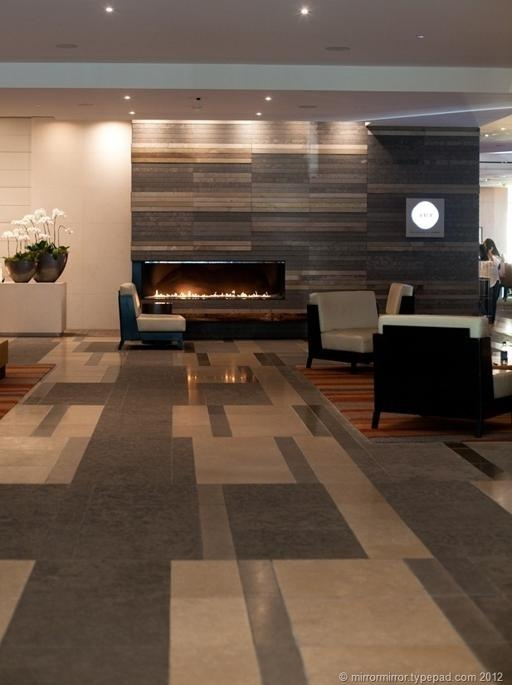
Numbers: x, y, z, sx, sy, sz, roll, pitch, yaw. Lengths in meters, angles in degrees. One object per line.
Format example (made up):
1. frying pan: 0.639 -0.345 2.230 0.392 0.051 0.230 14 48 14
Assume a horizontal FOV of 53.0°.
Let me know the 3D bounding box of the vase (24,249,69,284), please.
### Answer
1. vase: -3.974 -1.449 9.869 0.643 0.456 0.656 0 5 0

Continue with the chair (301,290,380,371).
1. chair: 1.298 -0.179 6.769 1.069 0.963 1.014 -3 6 -30

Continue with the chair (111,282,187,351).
1. chair: -1.970 -0.276 9.248 1.167 1.027 1.543 -2 -15 -16

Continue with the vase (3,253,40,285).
1. vase: -4.395 -1.413 9.741 0.594 0.437 0.551 -3 9 -13

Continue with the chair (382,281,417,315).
1. chair: 2.272 -0.720 8.228 0.390 0.693 0.745 5 7 5
